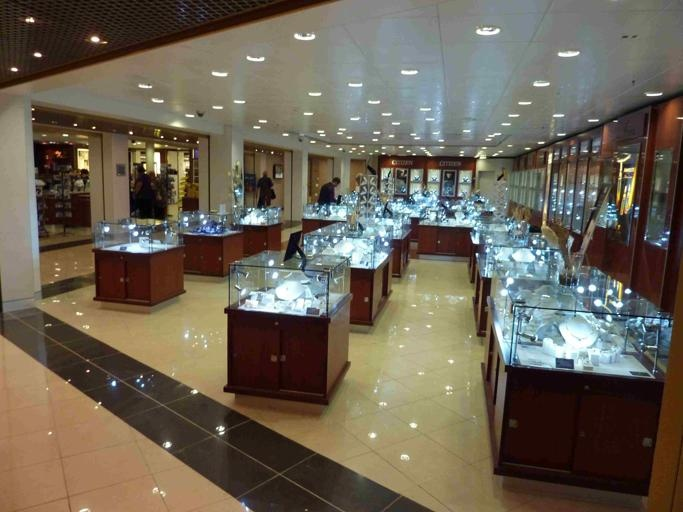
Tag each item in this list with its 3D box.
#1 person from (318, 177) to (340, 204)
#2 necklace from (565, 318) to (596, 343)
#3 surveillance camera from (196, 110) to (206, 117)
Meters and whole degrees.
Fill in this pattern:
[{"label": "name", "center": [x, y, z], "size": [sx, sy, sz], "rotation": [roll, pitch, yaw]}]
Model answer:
[{"label": "person", "center": [-0.446, -2.231, 17.755], "size": [0.629, 0.888, 2.224], "rotation": [2, 15, -3]}, {"label": "necklace", "center": [2.188, 0.668, 4.819], "size": [0.280, 0.214, 0.046], "rotation": [4, 14, 6]}, {"label": "surveillance camera", "center": [-3.280, -3.334, 12.334], "size": [0.157, 0.126, 0.149], "rotation": [2, 8, 14]}]
